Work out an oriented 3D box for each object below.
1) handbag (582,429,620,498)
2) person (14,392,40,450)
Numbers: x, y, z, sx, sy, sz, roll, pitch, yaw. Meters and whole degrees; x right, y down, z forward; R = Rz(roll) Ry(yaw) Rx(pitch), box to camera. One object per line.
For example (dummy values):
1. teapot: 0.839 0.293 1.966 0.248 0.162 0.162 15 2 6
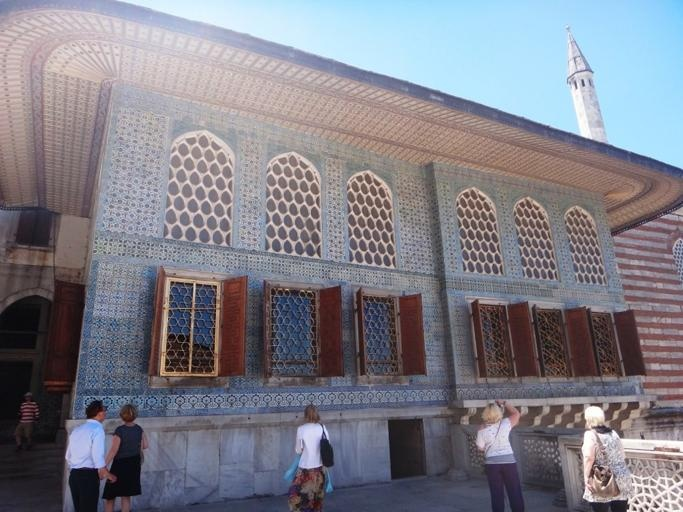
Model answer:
1. handbag: 2.266 1.841 3.945 0.245 0.554 0.110 -10 -15 25
2. person: -6.612 3.442 9.404 0.361 1.097 0.776 6 -17 -34
